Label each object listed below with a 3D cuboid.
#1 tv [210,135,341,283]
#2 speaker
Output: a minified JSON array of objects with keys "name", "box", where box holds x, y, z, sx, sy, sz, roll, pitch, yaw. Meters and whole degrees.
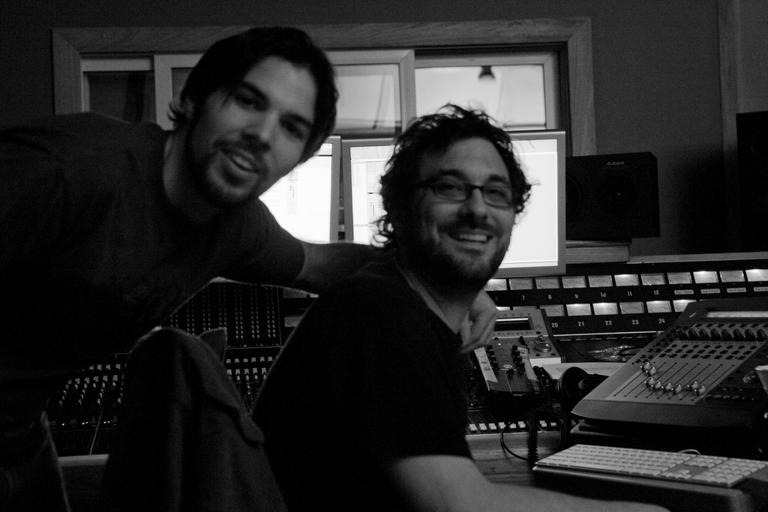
[{"name":"tv","box":[-0.279,-0.099,2.438,0.620,0.537,0.412,2,-8,-2]},{"name":"speaker","box":[0.811,-0.210,2.380,0.324,0.240,0.158,-1,-9,3]}]
